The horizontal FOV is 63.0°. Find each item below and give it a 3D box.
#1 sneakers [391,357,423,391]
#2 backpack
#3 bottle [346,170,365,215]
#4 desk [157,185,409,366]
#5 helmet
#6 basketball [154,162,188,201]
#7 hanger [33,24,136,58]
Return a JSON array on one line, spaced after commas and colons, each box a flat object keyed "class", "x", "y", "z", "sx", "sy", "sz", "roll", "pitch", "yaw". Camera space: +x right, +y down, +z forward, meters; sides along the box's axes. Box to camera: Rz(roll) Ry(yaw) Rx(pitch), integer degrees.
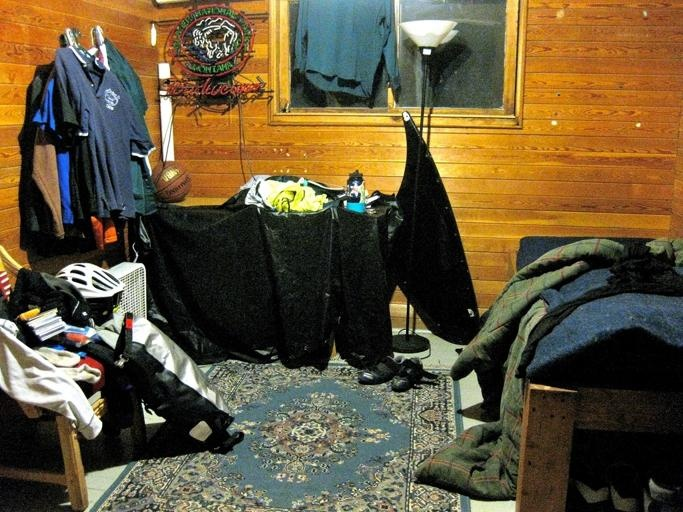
[{"class": "sneakers", "x": 0.379, "y": 0.716, "z": 3.453, "sx": 0.127, "sy": 0.141, "sz": 0.378, "roll": 3, "pitch": 12, "yaw": 21}, {"class": "backpack", "x": -0.786, "y": 0.645, "z": 2.750, "sx": 0.226, "sy": 0.803, "sz": 0.442, "roll": -41, "pitch": 30, "yaw": 1}, {"class": "bottle", "x": 0.083, "y": -0.404, "z": 3.584, "sx": 0.133, "sy": 0.239, "sz": 0.286, "roll": -2, "pitch": 14, "yaw": 1}, {"class": "desk", "x": -0.428, "y": 0.180, "z": 3.760, "sx": 1.745, "sy": 1.012, "sz": 0.529, "roll": 0, "pitch": 7, "yaw": 20}, {"class": "helmet", "x": -1.334, "y": 0.193, "z": 3.082, "sx": 0.407, "sy": 0.269, "sz": 0.298, "roll": 6, "pitch": 15, "yaw": 26}, {"class": "basketball", "x": -1.173, "y": -0.492, "z": 3.787, "sx": 0.204, "sy": 0.207, "sz": 0.199, "roll": 14, "pitch": 44, "yaw": 35}, {"class": "hanger", "x": -1.620, "y": -1.318, "z": 3.440, "sx": 0.448, "sy": 0.131, "sz": 0.425, "roll": -4, "pitch": 26, "yaw": -19}]
